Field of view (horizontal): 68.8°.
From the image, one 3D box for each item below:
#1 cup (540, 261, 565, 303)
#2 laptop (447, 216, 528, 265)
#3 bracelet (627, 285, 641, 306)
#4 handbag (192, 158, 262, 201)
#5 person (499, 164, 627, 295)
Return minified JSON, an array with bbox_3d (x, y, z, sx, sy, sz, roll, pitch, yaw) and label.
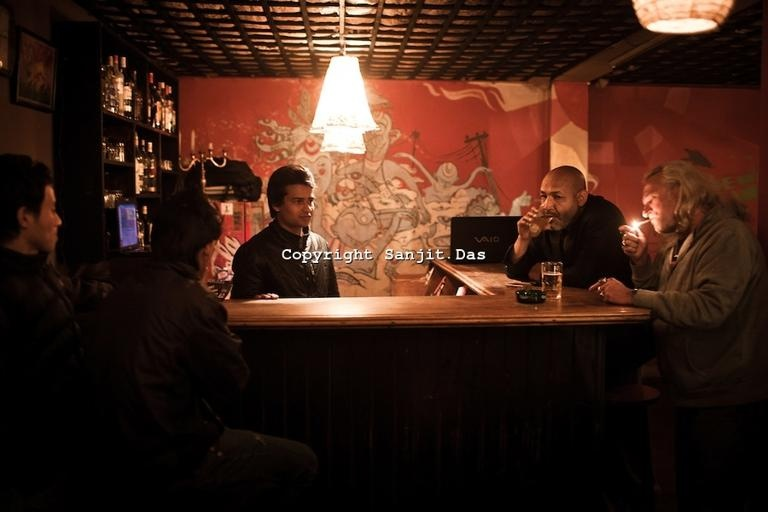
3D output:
[{"bbox_3d":[1.067,0.162,3.562,0.125,0.224,0.237,2,7,16],"label":"cup"},{"bbox_3d":[1.045,-0.072,6.206,0.737,0.433,0.497,0,0,-1],"label":"laptop"},{"bbox_3d":[1.481,0.247,3.312,0.087,0.083,0.035,-3,-4,42],"label":"bracelet"},{"bbox_3d":[-1.397,-0.647,4.907,0.561,0.231,0.572,9,8,44],"label":"handbag"},{"bbox_3d":[1.502,-0.230,4.671,0.918,0.956,1.211,12,12,40],"label":"person"}]
